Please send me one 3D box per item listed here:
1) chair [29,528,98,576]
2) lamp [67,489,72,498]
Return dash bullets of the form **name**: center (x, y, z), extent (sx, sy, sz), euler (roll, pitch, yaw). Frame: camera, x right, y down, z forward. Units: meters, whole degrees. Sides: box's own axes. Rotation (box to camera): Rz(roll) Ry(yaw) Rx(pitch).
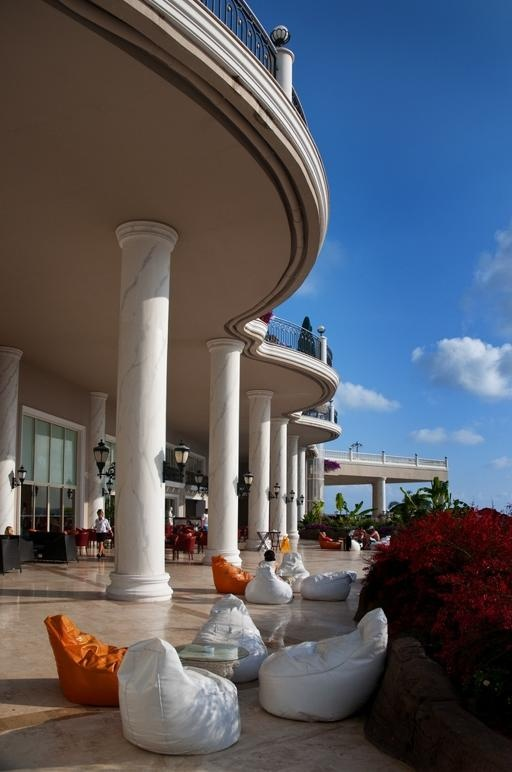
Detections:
- **chair**: center (-4.514, 3.896, 14.539), extent (1.199, 0.586, 0.617), euler (-8, -36, 13)
- **lamp**: center (-6.118, 3.543, 20.431), extent (0.203, 0.284, 0.206), euler (5, -14, -24)
